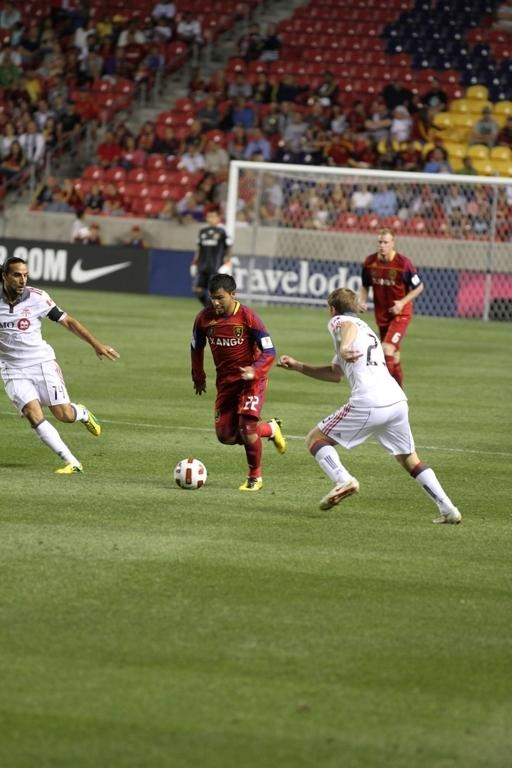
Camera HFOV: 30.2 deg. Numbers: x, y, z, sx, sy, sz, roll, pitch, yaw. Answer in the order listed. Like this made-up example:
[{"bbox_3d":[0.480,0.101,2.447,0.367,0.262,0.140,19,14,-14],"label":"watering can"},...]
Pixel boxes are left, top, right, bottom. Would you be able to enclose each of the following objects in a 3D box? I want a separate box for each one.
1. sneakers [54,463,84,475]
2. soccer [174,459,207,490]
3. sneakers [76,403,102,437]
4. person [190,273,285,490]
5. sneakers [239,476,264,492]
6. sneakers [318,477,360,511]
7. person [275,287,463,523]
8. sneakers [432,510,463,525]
[{"bbox_3d":[-1.251,0.569,6.348,0.200,0.065,0.065,2,3,-17],"label":"sneakers"},{"bbox_3d":[-0.439,0.568,6.021,0.241,0.175,0.204,1,-9,-10],"label":"soccer"},{"bbox_3d":[-1.342,0.295,7.602,0.099,0.274,0.118,-33,15,35],"label":"sneakers"},{"bbox_3d":[-0.138,-0.034,6.303,0.622,1.386,0.757,3,10,-3],"label":"person"},{"bbox_3d":[-0.027,0.656,6.169,0.067,0.065,0.191,-4,-7,32],"label":"sneakers"},{"bbox_3d":[0.445,0.607,5.204,0.173,0.195,0.143,2,9,-6],"label":"sneakers"},{"bbox_3d":[0.621,0.129,5.412,0.744,1.329,0.860,-1,11,-26],"label":"person"},{"bbox_3d":[1.075,0.752,5.325,0.190,0.058,0.071,0,2,9],"label":"sneakers"}]
